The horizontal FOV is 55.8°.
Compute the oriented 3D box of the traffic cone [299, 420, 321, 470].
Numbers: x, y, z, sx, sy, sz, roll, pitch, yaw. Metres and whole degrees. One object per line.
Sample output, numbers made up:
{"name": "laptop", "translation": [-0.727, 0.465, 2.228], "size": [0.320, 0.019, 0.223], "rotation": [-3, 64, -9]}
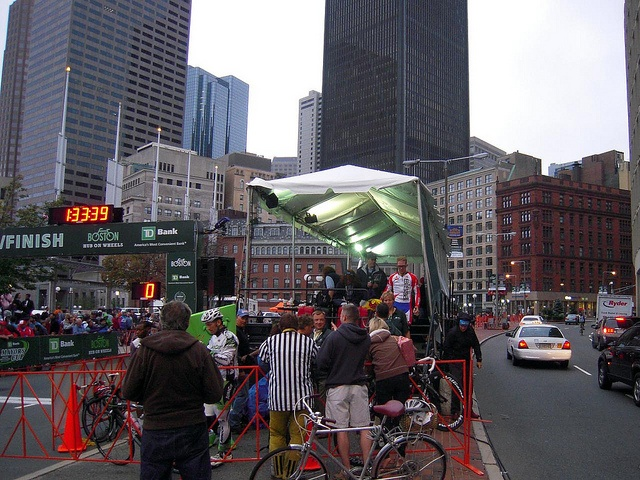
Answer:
{"name": "traffic cone", "translation": [-0.152, 3.113, 9.217], "size": [0.298, 0.670, 0.828], "rotation": [2, -9, -2]}

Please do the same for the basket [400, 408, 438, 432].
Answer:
{"name": "basket", "translation": [1.555, 2.885, 9.588], "size": [0.449, 0.213, 0.369], "rotation": [-13, -18, 39]}

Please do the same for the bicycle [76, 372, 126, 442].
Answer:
{"name": "bicycle", "translation": [-4.175, 3.326, 11.859], "size": [1.617, 1.047, 0.780], "rotation": [-22, -13, 40]}

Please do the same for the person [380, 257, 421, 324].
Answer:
{"name": "person", "translation": [1.976, 1.591, 15.014], "size": [0.921, 2.248, 0.627], "rotation": [1, 0, 7]}

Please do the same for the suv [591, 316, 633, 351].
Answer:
{"name": "suv", "translation": [14.901, 4.533, 30.833], "size": [2.121, 1.836, 3.964], "rotation": [-2, -3, 19]}

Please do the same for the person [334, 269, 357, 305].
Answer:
{"name": "person", "translation": [0.707, 1.204, 15.561], "size": [0.625, 0.957, 0.642], "rotation": [0, 18, 1]}

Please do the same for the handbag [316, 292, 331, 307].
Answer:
{"name": "handbag", "translation": [0.038, 1.581, 15.793], "size": [0.289, 0.406, 0.411], "rotation": [13, -29, -16]}

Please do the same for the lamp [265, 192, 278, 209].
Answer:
{"name": "lamp", "translation": [-1.309, -1.086, 16.591], "size": [0.340, 0.343, 0.373], "rotation": [10, -1, -5]}

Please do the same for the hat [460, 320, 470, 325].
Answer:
{"name": "hat", "translation": [3.340, 1.926, 14.079], "size": [0.213, 0.111, 0.252], "rotation": [0, -9, 14]}

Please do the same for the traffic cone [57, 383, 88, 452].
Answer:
{"name": "traffic cone", "translation": [-4.772, 3.508, 11.851], "size": [0.534, 1.373, 0.823], "rotation": [6, -9, -24]}

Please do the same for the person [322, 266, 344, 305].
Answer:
{"name": "person", "translation": [0.334, 1.191, 15.610], "size": [0.316, 0.863, 0.706], "rotation": [-1, 9, -1]}

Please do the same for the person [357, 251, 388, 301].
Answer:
{"name": "person", "translation": [1.326, 1.306, 16.560], "size": [0.817, 1.867, 0.558], "rotation": [4, 6, 25]}

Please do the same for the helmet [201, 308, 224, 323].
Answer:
{"name": "helmet", "translation": [-1.935, 1.374, 11.080], "size": [0.252, 0.143, 0.358], "rotation": [2, 8, 24]}
